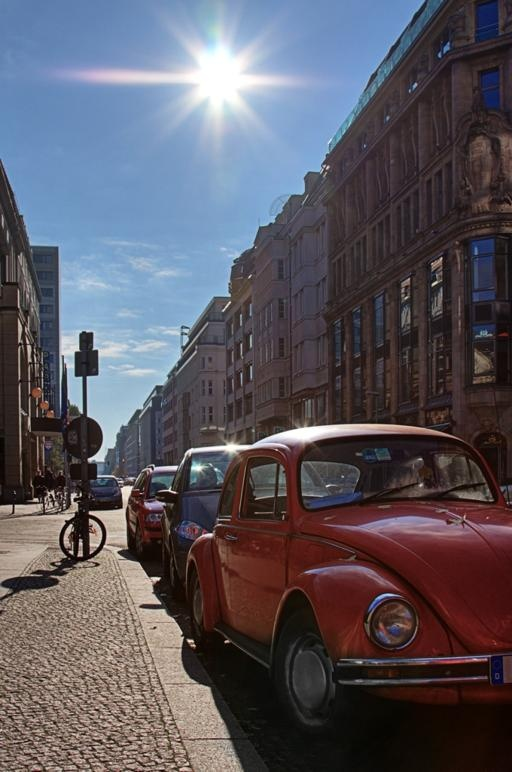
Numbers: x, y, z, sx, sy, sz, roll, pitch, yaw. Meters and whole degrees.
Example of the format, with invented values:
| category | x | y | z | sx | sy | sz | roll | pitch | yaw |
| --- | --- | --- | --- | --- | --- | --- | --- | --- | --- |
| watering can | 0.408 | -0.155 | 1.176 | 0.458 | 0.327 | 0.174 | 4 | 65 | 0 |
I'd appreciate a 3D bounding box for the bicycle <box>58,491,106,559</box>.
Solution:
| category | x | y | z | sx | sy | sz | roll | pitch | yaw |
| --- | --- | --- | --- | --- | --- | --- | --- | --- | --- |
| bicycle | -2.890 | 2.489 | 12.215 | 0.706 | 0.714 | 1.399 | 12 | -33 | -7 |
